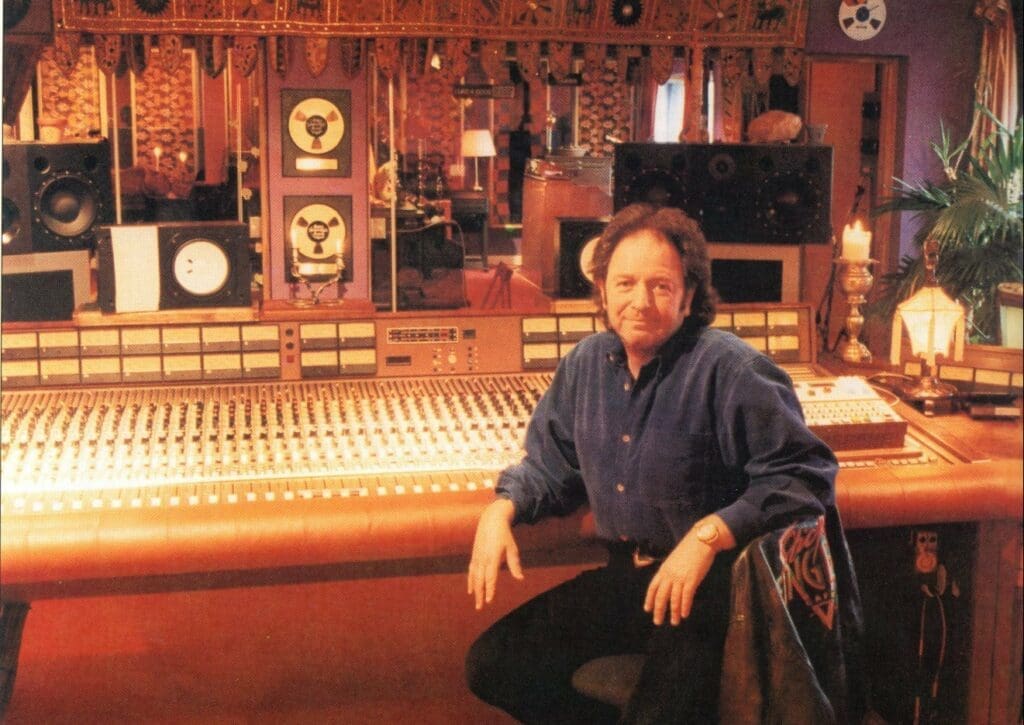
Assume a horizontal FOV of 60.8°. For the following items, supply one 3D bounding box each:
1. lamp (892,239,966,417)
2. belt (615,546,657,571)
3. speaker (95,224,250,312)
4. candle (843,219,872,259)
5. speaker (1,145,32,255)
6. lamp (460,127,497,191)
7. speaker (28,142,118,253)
[{"bbox_3d":[1.432,-0.055,2.985,0.216,0.421,0.256,3,10,26],"label":"lamp"},{"bbox_3d":[0.335,0.520,2.376,0.083,0.032,0.066,10,-1,7],"label":"belt"},{"bbox_3d":[-1.159,-0.327,3.019,0.491,0.294,0.083,-4,9,-16],"label":"speaker"},{"bbox_3d":[1.317,-0.463,3.326,0.090,0.146,0.227,2,9,20],"label":"candle"},{"bbox_3d":[-2.101,-0.690,3.695,0.136,0.460,0.073,-5,9,-21],"label":"speaker"},{"bbox_3d":[-0.279,-1.767,7.615,0.280,0.522,0.621,-1,9,-1],"label":"lamp"},{"bbox_3d":[-2.010,-0.732,3.874,0.292,0.484,0.368,12,19,36],"label":"speaker"}]
